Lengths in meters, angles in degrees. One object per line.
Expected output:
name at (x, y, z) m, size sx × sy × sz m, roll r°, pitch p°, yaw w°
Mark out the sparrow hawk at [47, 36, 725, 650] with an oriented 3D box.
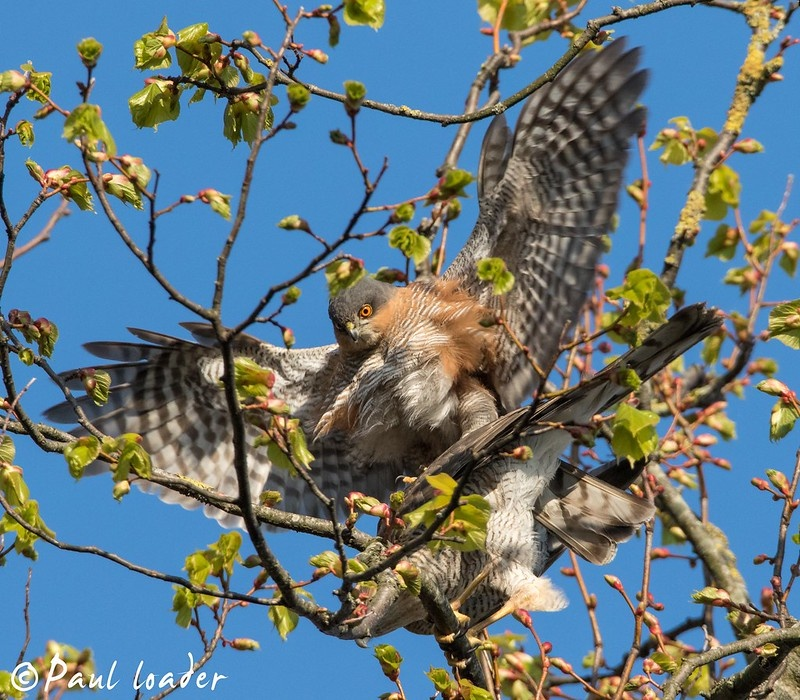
sparrow hawk at (0.036, 0.342, 10.140) m, size 1.229 × 1.355 × 2.031 m, roll 40°, pitch -56°, yaw -19°
